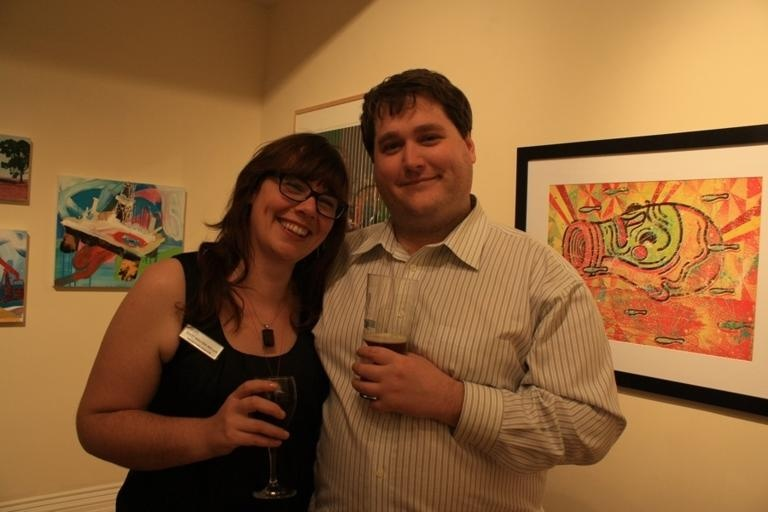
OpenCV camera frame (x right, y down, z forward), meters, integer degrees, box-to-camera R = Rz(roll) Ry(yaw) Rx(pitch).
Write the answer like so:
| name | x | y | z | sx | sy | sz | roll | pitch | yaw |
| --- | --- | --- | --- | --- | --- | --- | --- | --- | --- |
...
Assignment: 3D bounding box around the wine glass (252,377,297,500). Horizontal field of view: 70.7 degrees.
| name | x | y | z | sx | sy | sz | roll | pitch | yaw |
| --- | --- | --- | --- | --- | --- | --- | --- | --- | --- |
| wine glass | -0.512 | 0.874 | 2.528 | 0.188 | 0.665 | 0.305 | 1 | 1 | -13 |
